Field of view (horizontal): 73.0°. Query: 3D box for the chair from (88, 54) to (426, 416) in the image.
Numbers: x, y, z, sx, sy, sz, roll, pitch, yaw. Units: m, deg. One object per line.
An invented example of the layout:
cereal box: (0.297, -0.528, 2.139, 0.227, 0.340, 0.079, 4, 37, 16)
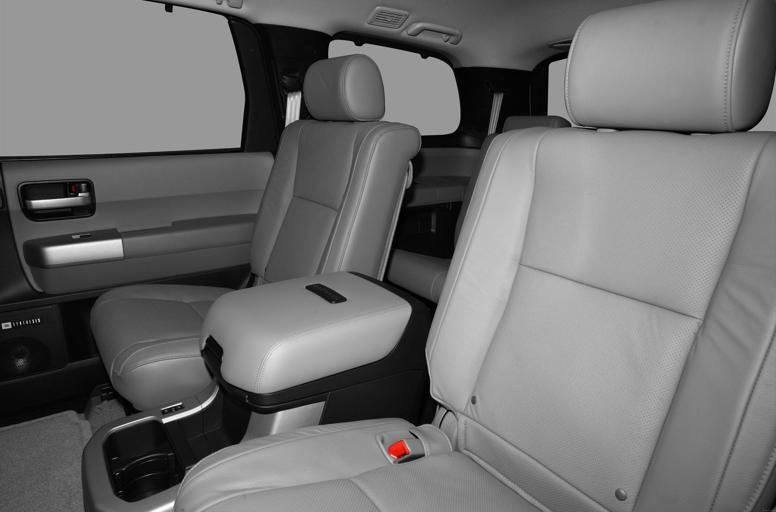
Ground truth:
chair: (-0.549, -0.143, 1.987, 1.072, 1.236, 0.822, -5, 17, -32)
